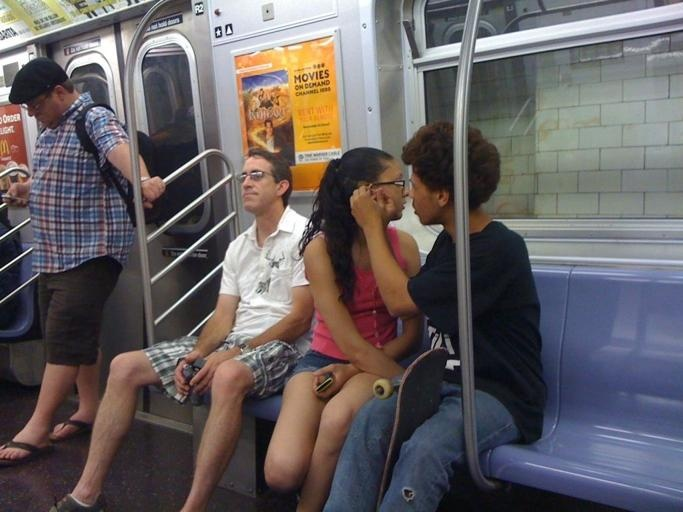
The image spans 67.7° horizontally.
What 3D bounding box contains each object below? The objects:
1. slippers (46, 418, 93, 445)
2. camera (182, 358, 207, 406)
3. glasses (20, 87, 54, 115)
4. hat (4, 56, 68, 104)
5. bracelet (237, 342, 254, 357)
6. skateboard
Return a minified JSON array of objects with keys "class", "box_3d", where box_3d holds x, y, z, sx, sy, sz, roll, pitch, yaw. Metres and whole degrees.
[{"class":"slippers","box_3d":[-1.767,1.128,3.346,0.110,0.105,0.294,2,1,43]},{"class":"camera","box_3d":[-0.679,0.590,2.372,0.155,0.170,0.061,-15,-8,0]},{"class":"glasses","box_3d":[-1.755,-0.892,2.996,0.172,0.098,0.155,-55,23,-10]},{"class":"hat","box_3d":[-1.770,-1.010,2.980,0.318,0.175,0.227,-32,39,-20]},{"class":"bracelet","box_3d":[-0.467,0.447,2.465,0.051,0.081,0.074,7,5,-41]},{"class":"skateboard","box_3d":[0.218,0.540,1.860,0.188,0.700,0.100,11,4,-40]}]
